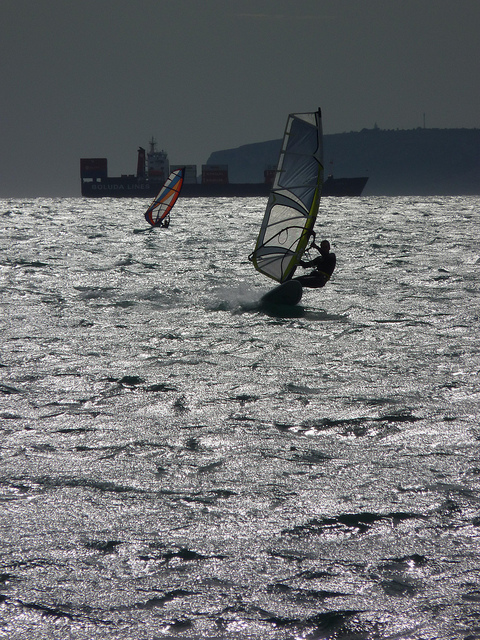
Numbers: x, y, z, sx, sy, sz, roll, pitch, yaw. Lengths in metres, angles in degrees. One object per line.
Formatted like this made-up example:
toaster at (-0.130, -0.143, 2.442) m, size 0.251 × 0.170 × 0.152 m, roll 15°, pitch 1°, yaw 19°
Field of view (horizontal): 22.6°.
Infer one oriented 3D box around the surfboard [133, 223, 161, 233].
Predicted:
surfboard at (-2.254, -2.171, 29.100) m, size 0.178 × 0.200 × 1.210 m, roll 32°, pitch 22°, yaw 23°

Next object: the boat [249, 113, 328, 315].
boat at (0.475, -1.141, 12.730) m, size 0.755 × 2.148 × 2.197 m, roll 0°, pitch 13°, yaw 1°

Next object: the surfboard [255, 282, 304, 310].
surfboard at (0.365, -0.273, 12.449) m, size 0.496 × 0.263 × 0.344 m, roll 5°, pitch 14°, yaw 21°

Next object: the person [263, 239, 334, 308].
person at (0.559, -0.607, 12.976) m, size 0.960 × 0.516 × 0.515 m, roll 4°, pitch -6°, yaw -25°

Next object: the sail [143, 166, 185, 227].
sail at (-1.846, -3.078, 30.289) m, size 0.606 × 1.911 × 0.353 m, roll 25°, pitch 22°, yaw -7°

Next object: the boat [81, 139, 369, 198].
boat at (-3.281, -13.789, 115.773) m, size 23.761 × 6.660 × 3.397 m, roll 5°, pitch -4°, yaw 21°
